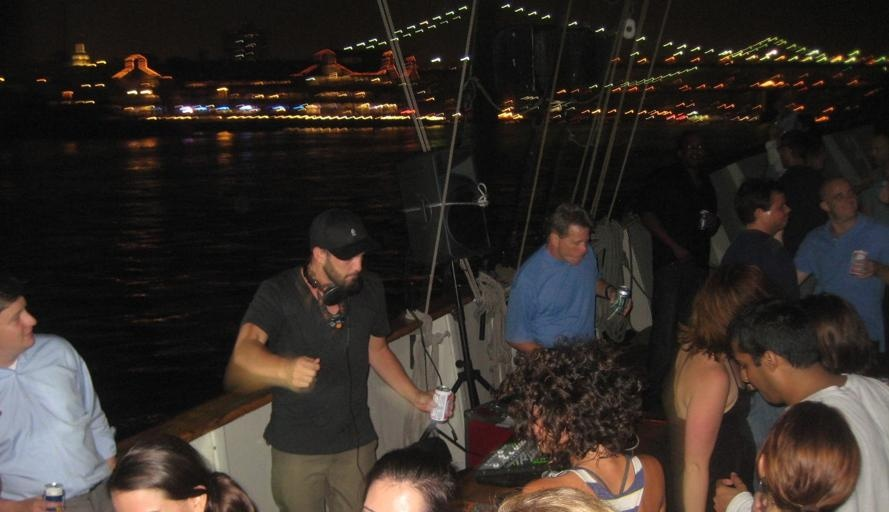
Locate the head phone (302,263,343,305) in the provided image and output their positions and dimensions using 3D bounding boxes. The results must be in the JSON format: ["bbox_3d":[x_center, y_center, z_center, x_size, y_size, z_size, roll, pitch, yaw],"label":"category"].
[{"bbox_3d":[-0.887,0.208,5.026,0.237,0.268,0.101,-41,0,-32],"label":"head phone"}]

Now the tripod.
[{"bbox_3d":[0.214,0.662,6.920,0.680,1.937,0.600,-13,-24,9],"label":"tripod"}]

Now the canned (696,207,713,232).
[{"bbox_3d":[2.888,-0.408,7.642,0.203,0.205,0.156,-20,53,-25],"label":"canned"}]

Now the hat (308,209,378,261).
[{"bbox_3d":[-0.767,-0.208,5.101,0.544,0.273,0.392,11,32,27],"label":"hat"}]
